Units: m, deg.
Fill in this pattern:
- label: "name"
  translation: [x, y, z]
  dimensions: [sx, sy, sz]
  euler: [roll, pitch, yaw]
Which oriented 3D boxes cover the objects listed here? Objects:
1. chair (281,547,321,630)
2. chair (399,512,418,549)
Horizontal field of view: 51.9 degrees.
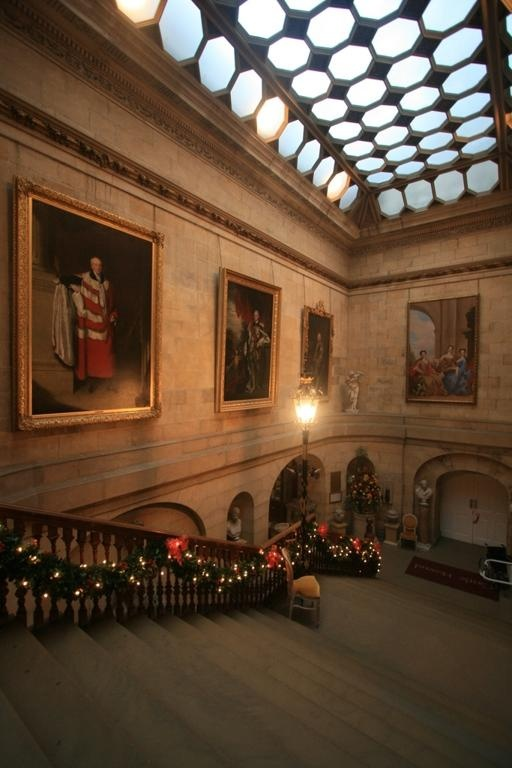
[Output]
- label: "chair"
  translation: [0.643, 2.669, 7.032]
  dimensions: [0.540, 0.908, 0.575]
  euler: [2, 2, 36]
- label: "chair"
  translation: [3.427, 3.241, 11.672]
  dimensions: [0.389, 0.531, 0.391]
  euler: [12, -5, 19]
